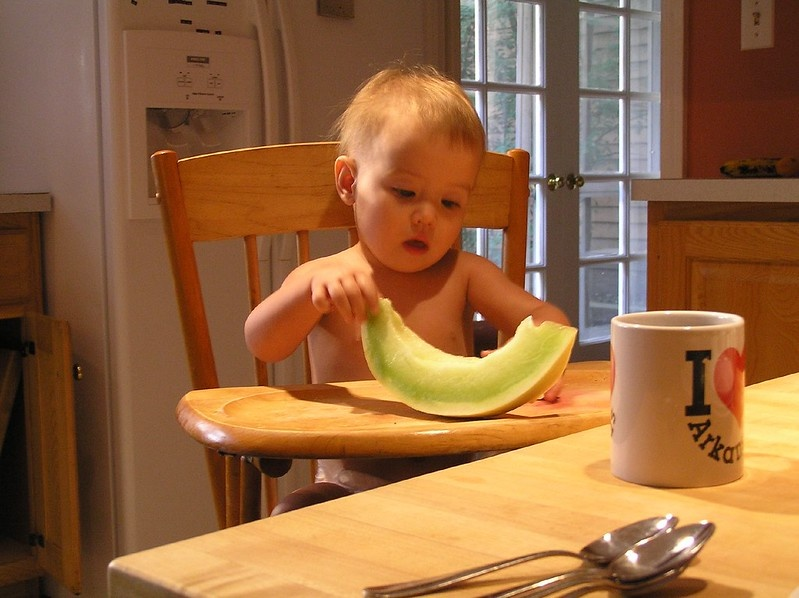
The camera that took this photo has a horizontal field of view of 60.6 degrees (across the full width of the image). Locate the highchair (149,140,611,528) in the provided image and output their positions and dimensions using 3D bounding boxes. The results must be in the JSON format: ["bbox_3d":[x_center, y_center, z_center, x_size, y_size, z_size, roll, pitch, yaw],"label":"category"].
[{"bbox_3d":[-0.028,-0.128,1.091,0.493,0.771,0.612,6,2,-27],"label":"highchair"}]

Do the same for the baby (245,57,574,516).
[{"bbox_3d":[0.018,0.058,1.101,0.506,0.832,0.469,1,7,-7],"label":"baby"}]

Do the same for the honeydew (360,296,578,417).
[{"bbox_3d":[0.056,0.037,0.668,0.176,0.106,0.167,1,3,-37],"label":"honeydew"}]

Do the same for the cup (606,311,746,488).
[{"bbox_3d":[0.180,0.063,0.451,0.087,0.101,0.089,0,0,0],"label":"cup"}]
